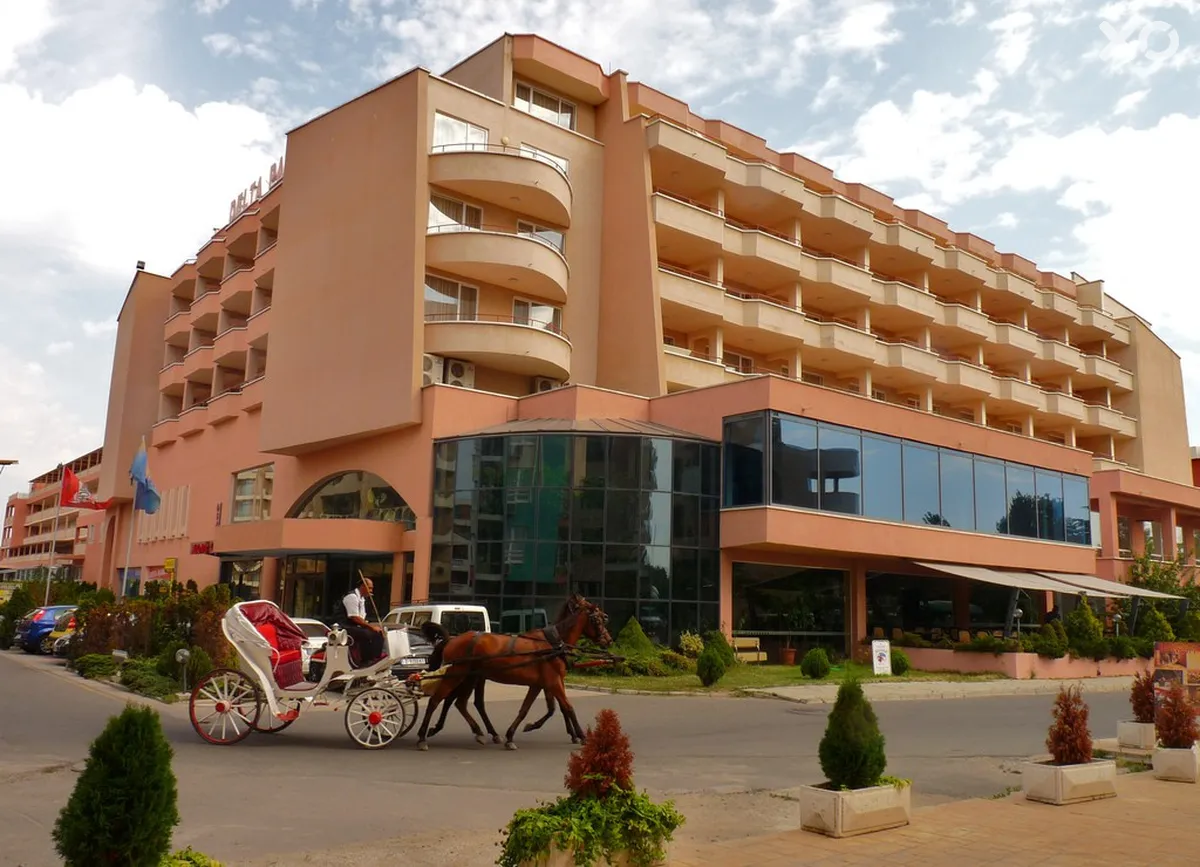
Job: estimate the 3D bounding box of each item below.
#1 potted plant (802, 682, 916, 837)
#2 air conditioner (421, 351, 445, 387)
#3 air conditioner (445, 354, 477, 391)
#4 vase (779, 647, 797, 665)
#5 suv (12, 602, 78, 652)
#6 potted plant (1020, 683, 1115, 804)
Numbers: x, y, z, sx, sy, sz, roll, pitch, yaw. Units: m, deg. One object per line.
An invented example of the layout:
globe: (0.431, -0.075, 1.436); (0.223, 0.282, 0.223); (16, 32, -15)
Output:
potted plant: (3.385, 4.282, 12.435); (1.407, 1.888, 0.557); (5, -16, -21)
air conditioner: (-6.768, -2.474, 37.738); (0.670, 1.196, 1.319); (-10, -16, 37)
air conditioner: (-5.769, -2.385, 38.554); (0.510, 1.263, 1.457); (-12, -15, 38)
vase: (7.271, 8.545, 35.645); (0.611, 0.448, 0.610); (0, -17, 5)
suv: (-21.018, 7.496, 35.674); (1.752, 1.177, 2.514); (0, -3, -5)
potted plant: (6.991, 4.677, 14.090); (1.353, 1.606, 0.805); (11, -19, -38)
